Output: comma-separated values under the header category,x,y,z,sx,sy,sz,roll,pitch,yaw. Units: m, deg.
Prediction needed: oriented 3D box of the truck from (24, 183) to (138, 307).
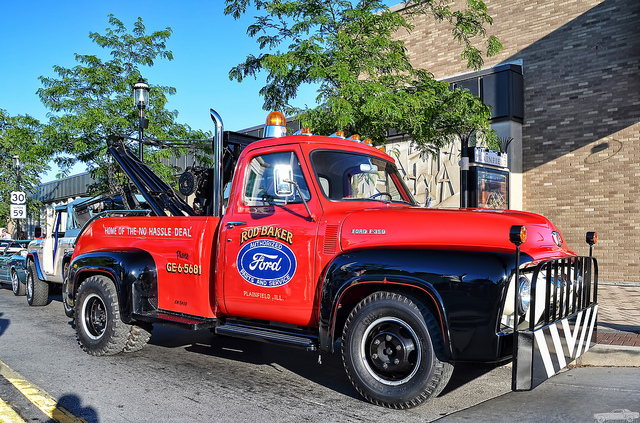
category,x,y,z,sx,sy,sz,roll,pitch,yaw
truck,-5.550,0.837,14.006,2.385,2.688,4.258,4,-4,-37

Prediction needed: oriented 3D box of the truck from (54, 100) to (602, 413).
category,x,y,z,sx,sy,sz,roll,pitch,yaw
truck,-0.269,0.946,9.611,8.342,4.432,4.629,-5,-6,38
